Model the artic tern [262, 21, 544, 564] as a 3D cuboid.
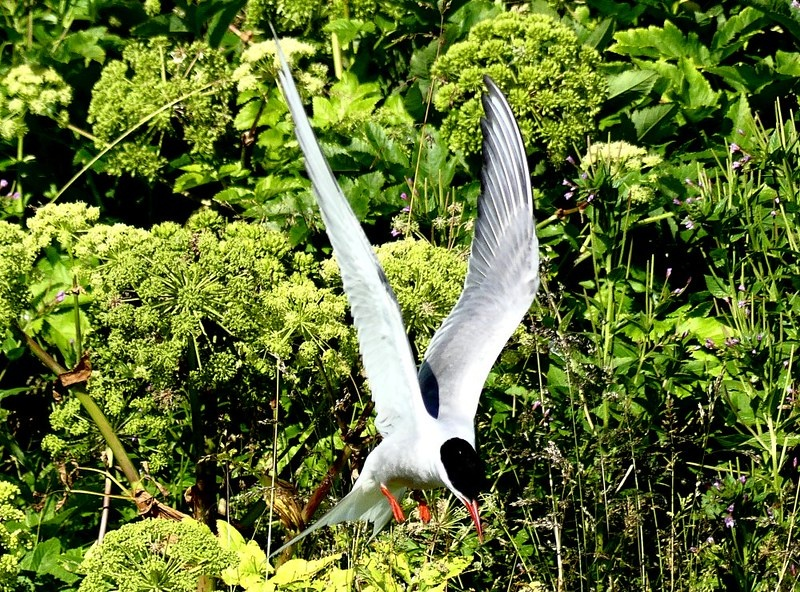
[{"bbox_3d":[0.071,-0.010,4.430,0.781,1.865,0.945,-1,11,16],"label":"artic tern"}]
